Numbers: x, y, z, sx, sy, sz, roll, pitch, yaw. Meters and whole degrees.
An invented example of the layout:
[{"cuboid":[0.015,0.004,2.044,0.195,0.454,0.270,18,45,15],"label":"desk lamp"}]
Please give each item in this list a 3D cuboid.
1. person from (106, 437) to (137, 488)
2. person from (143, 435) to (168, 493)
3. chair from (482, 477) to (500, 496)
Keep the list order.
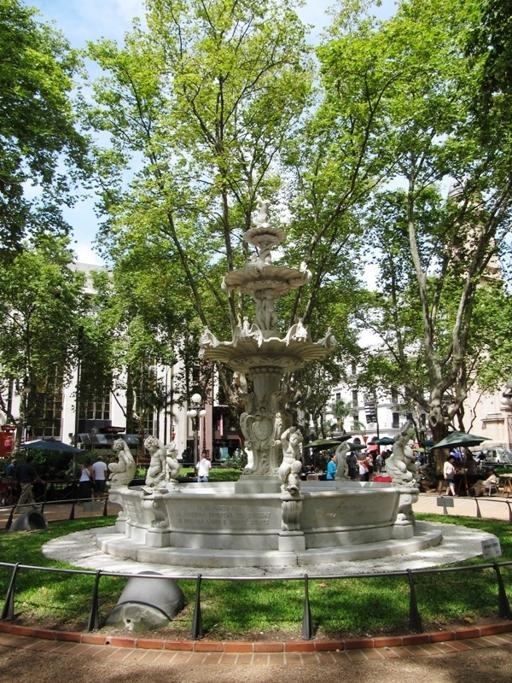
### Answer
[{"cuboid":[-3.443,3.081,12.599,0.784,1.193,0.628,4,-13,-25],"label":"person"},{"cuboid":[-1.861,2.236,9.082,0.391,0.970,0.956,0,-12,-12],"label":"person"},{"cuboid":[9.683,5.957,20.389,0.587,0.868,2.116,-8,-12,22],"label":"chair"}]
